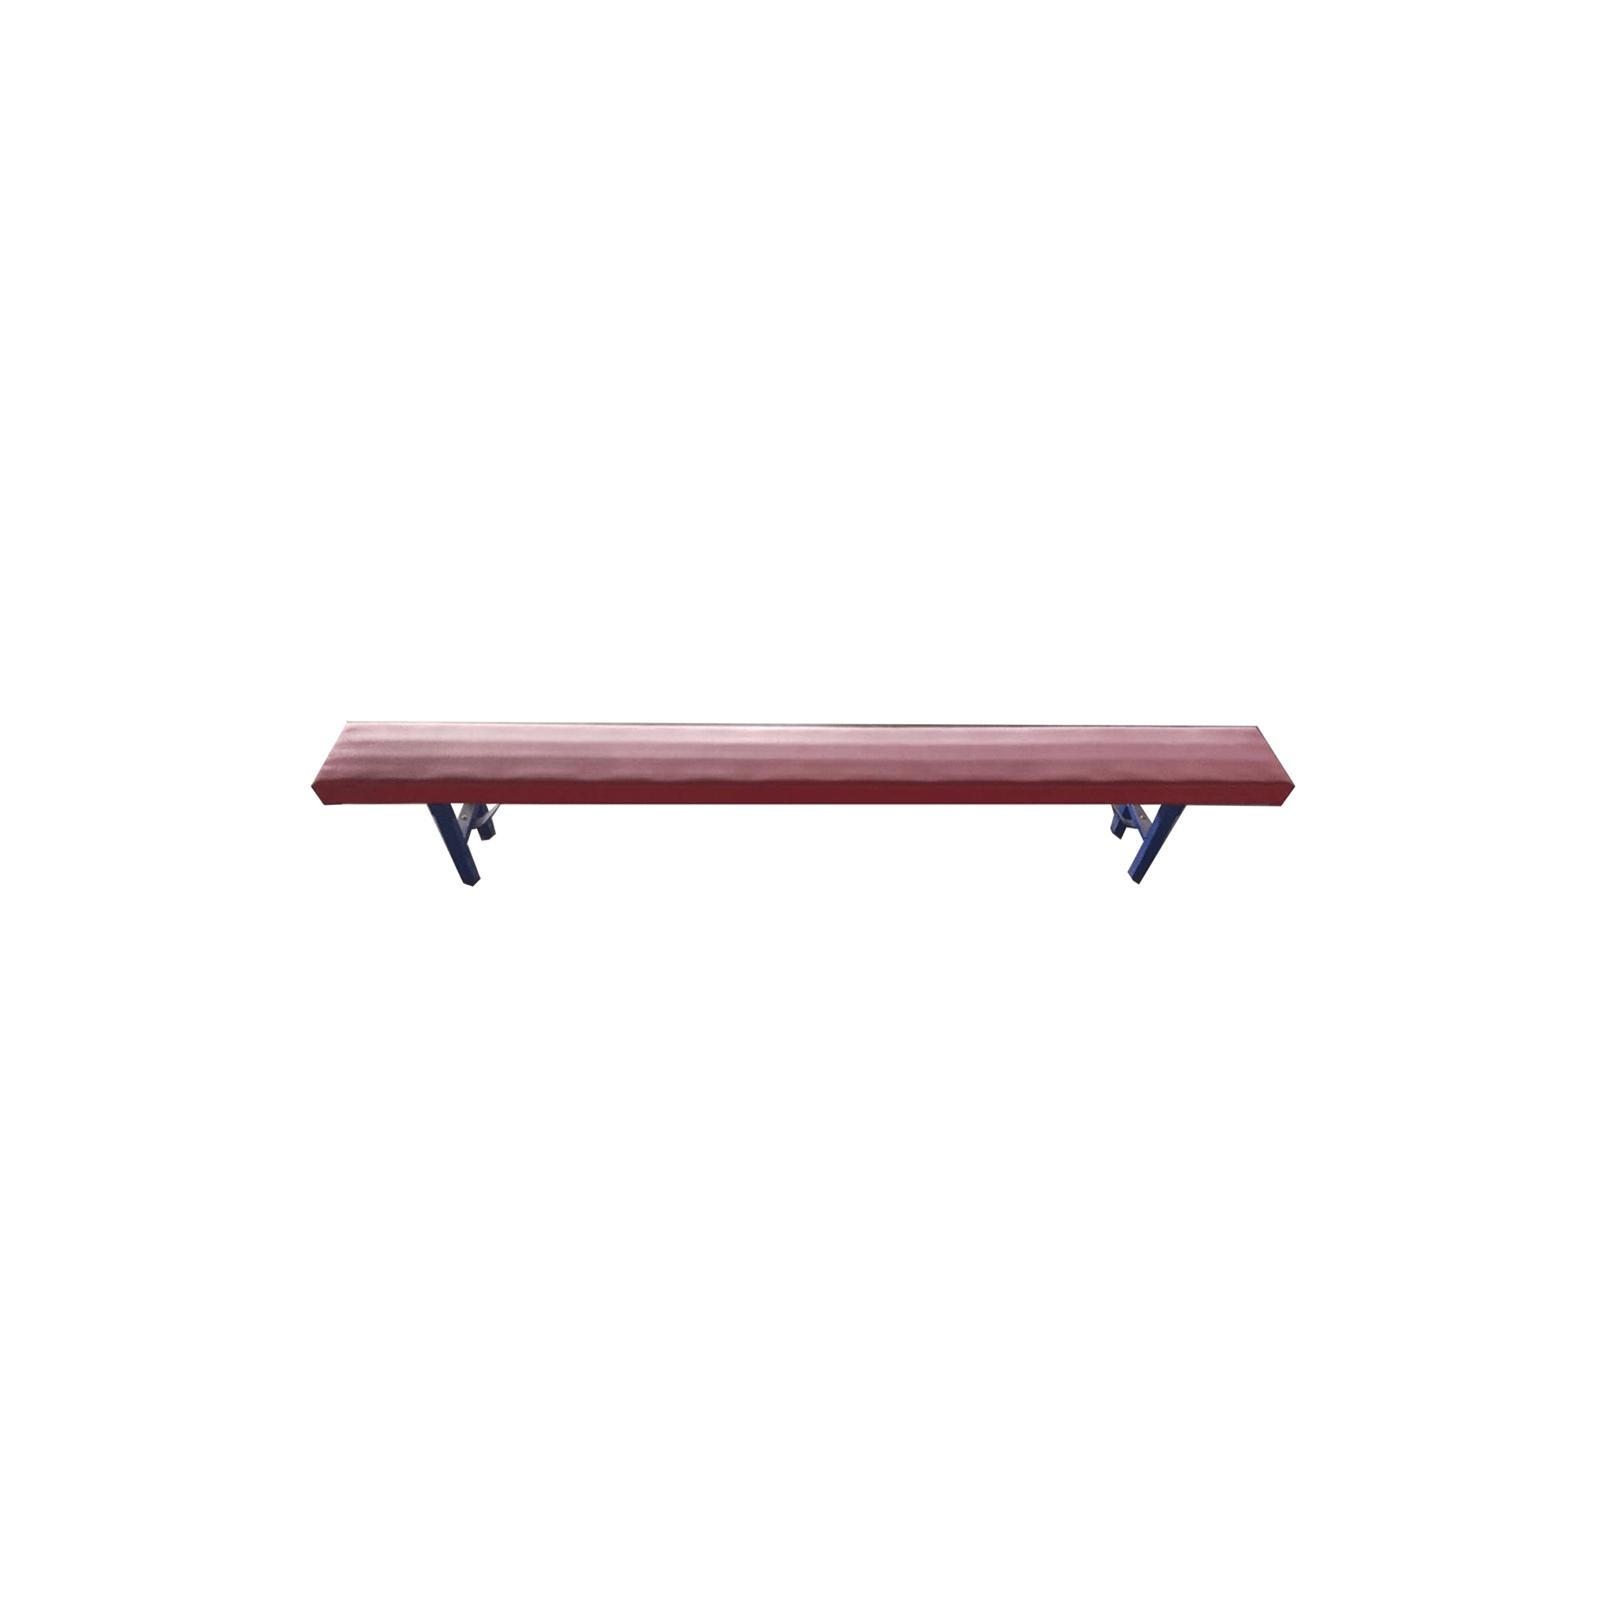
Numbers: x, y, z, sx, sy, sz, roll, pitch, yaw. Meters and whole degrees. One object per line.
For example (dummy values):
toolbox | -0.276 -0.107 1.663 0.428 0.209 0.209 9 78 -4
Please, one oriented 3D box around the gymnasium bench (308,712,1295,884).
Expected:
gymnasium bench | 0.001 0.081 5.989 2.492 0.352 0.447 0 -65 3
